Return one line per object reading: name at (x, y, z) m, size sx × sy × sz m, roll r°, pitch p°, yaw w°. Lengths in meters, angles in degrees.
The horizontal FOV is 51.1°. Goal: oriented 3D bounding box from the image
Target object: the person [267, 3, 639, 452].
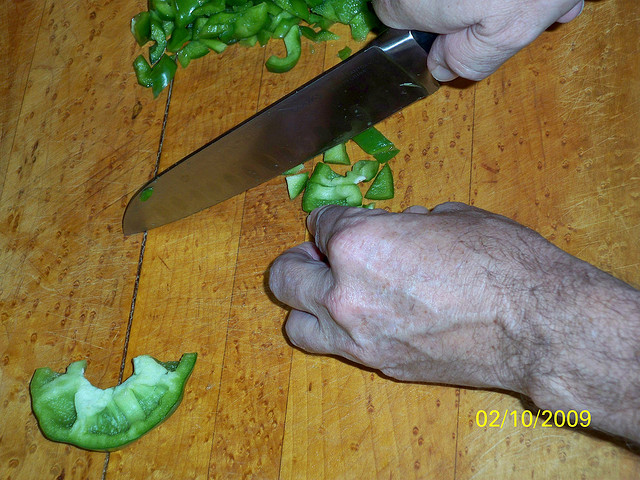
person at (0.361, 0.153, 2.026) m, size 1.026 × 0.374 × 1.253 m, roll 10°, pitch 88°, yaw 15°
